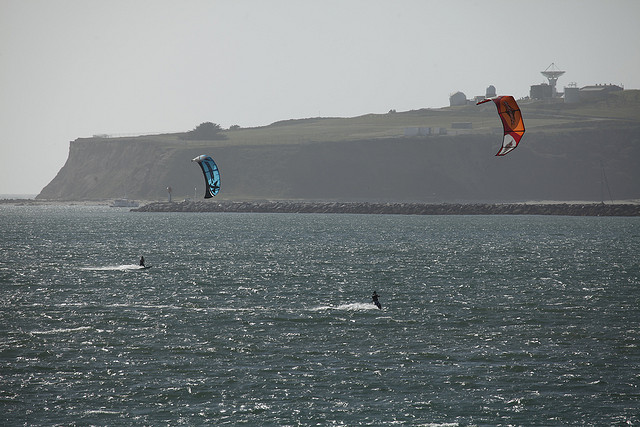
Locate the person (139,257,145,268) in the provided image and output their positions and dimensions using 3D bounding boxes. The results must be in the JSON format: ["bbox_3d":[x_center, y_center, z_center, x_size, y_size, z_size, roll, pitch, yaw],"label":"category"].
[{"bbox_3d":[-19.286,5.195,142.142,0.486,0.439,1.352,5,-44,2],"label":"person"}]

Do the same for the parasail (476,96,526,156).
[{"bbox_3d":[18.779,-8.961,128.836,2.320,6.311,3.615,-4,-28,9],"label":"parasail"}]

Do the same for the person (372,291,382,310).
[{"bbox_3d":[5.777,8.474,129.608,0.914,2.326,1.413,0,-27,2],"label":"person"}]

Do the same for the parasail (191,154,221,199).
[{"bbox_3d":[-11.121,-3.896,133.447,1.926,5.760,3.065,1,-28,-1],"label":"parasail"}]
